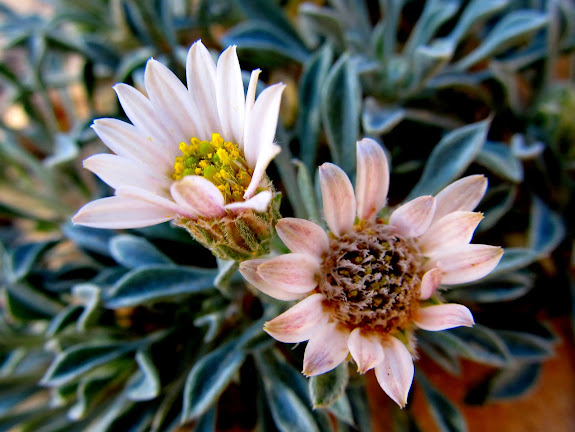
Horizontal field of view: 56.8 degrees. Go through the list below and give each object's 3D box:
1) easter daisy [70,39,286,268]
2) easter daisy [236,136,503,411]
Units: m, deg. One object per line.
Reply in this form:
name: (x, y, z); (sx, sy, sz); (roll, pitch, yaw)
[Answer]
easter daisy: (-0.211, -0.171, 1.451); (0.556, 0.352, 0.511); (39, 104, 32)
easter daisy: (0.227, 0.108, 1.284); (0.498, 0.178, 0.647); (38, 82, 11)
